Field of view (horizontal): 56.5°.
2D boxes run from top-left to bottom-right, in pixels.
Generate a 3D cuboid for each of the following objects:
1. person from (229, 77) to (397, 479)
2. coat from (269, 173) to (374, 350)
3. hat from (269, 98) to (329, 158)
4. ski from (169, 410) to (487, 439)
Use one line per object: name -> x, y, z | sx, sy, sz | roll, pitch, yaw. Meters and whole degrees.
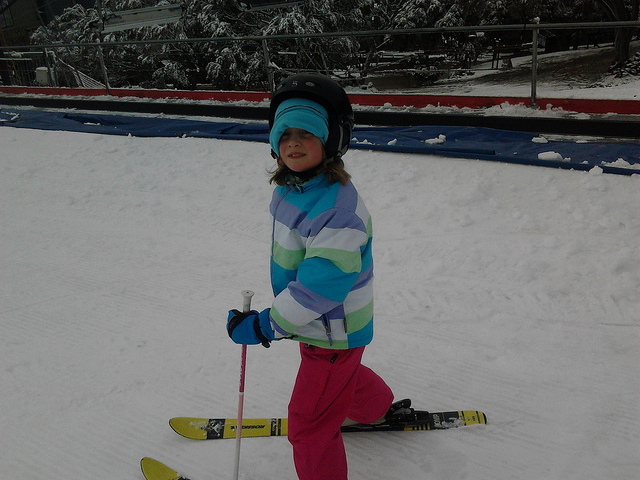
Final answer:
person -> -0.042, 0.260, 3.654 | 0.677, 2.428, 0.612 | 7, 17, 23
coat -> 0.006, 0.144, 3.616 | 0.637, 1.077, 0.458 | 0, 16, 2
hat -> -0.121, -0.657, 3.521 | 0.347, 0.355, 0.161 | 1, 16, 5
ski -> 0.113, 1.275, 4.076 | 2.101, 0.190, 0.216 | -1, 47, -1
